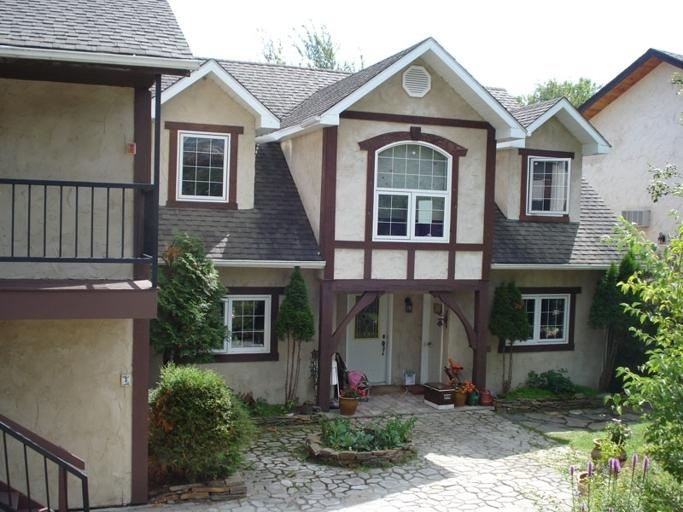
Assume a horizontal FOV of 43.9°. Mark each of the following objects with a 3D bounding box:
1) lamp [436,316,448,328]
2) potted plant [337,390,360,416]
[{"bbox_3d":[2.761,1.803,23.242,0.300,0.319,0.214,-4,9,-43],"label":"lamp"},{"bbox_3d":[0.156,3.623,20.775,0.457,0.386,0.480,-1,-4,33],"label":"potted plant"}]
